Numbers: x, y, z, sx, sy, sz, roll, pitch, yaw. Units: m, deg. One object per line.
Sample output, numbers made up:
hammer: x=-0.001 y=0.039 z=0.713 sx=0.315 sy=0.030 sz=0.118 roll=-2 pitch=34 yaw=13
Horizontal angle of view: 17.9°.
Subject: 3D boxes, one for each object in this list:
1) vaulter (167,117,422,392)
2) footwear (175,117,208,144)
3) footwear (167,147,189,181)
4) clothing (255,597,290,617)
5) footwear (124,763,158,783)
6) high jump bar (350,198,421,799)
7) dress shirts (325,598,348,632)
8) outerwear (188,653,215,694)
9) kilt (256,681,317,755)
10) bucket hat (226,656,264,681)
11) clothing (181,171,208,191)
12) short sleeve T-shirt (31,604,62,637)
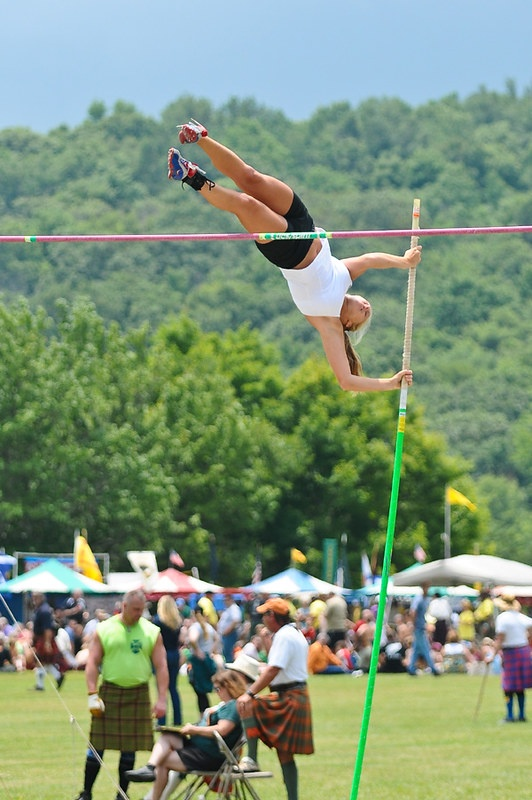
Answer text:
vaulter: x=0.526 y=-2.045 z=20.192 sx=3.658 sy=1.326 sz=2.290 roll=40 pitch=-26 yaw=-9
footwear: x=-0.866 y=-3.106 z=19.455 sx=0.333 sy=0.358 sz=0.546 roll=2 pitch=-5 yaw=-4
footwear: x=-1.040 y=-2.682 z=19.382 sx=0.199 sy=0.452 sz=0.164 roll=2 pitch=-4 yaw=-11
clothing: x=0.065 y=2.434 z=19.868 sx=0.304 sy=0.151 sz=0.196 roll=1 pitch=-8 yaw=7
footwear: x=-1.445 y=4.345 z=19.522 sx=0.355 sy=0.250 sz=0.171 roll=-1 pitch=-43 yaw=12
high jump bar: x=1.392 y=1.550 z=19.989 sx=0.505 sy=10.073 sz=0.742 roll=1 pitch=1 yaw=-1
dress shirts: x=1.187 y=3.819 z=30.035 sx=0.358 sy=0.610 sz=0.378 roll=2 pitch=-5 yaw=-5
outerwear: x=-0.867 y=3.733 z=23.148 sx=0.424 sy=0.563 sz=0.244 roll=2 pitch=6 yaw=29
kilt: x=0.179 y=3.727 z=19.861 sx=0.743 sy=0.780 sz=0.767 roll=0 pitch=-4 yaw=21
bucket hat: x=-0.261 y=3.149 z=19.906 sx=0.363 sy=0.138 sz=0.322 roll=31 pitch=3 yaw=-7
clothing: x=-0.834 y=-2.539 z=19.400 sx=0.297 sy=0.304 sz=0.354 roll=2 pitch=-5 yaw=-5
short sleeve T-shirt: x=-3.706 y=3.878 z=28.435 sx=0.489 sy=0.743 sz=0.882 roll=0 pitch=-6 yaw=-5
